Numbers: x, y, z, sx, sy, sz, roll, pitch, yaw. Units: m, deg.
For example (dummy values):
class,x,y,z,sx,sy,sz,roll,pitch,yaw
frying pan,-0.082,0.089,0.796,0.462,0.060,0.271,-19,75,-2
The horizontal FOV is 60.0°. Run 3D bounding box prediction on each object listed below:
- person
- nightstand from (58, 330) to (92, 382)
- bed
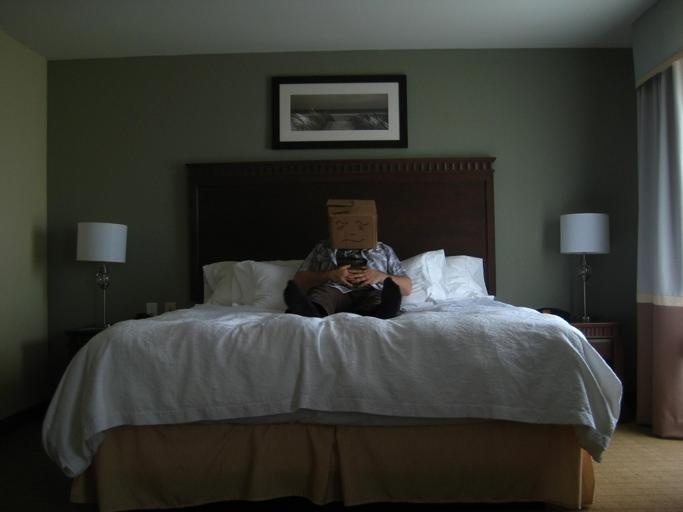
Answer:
class,x,y,z,sx,sy,sz,roll,pitch,yaw
person,0.076,0.181,4.162,0.807,0.488,1.177,2,8,6
nightstand,-2.045,0.717,4.555,0.252,0.355,0.274,-13,-19,-25
bed,-0.031,0.761,4.256,3.290,2.480,2.151,-1,-4,3
